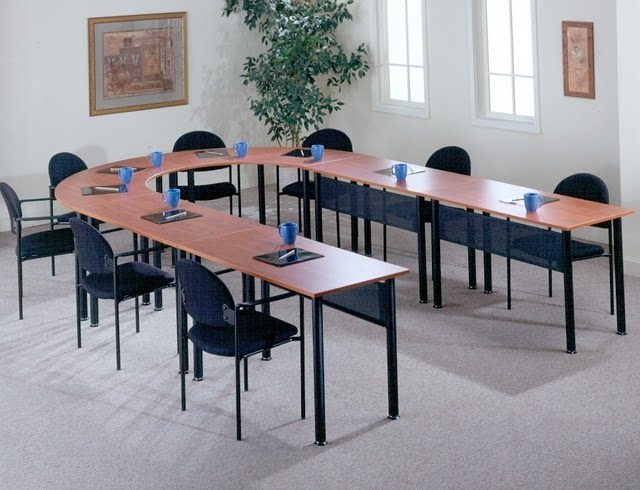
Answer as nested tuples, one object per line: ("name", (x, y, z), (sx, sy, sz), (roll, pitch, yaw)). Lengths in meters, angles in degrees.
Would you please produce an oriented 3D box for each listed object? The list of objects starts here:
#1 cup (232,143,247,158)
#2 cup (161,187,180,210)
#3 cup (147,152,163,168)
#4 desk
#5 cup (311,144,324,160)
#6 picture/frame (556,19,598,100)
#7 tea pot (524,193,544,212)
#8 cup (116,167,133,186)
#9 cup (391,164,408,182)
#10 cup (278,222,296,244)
("cup", (-0.767, -0.924, 5.707), (0.169, 0.155, 0.131), (6, 9, 39))
("cup", (-1.030, -0.328, 4.121), (0.105, 0.141, 0.158), (-4, 11, -23))
("cup", (-1.469, -0.774, 5.297), (0.158, 0.140, 0.123), (-1, 6, -23))
("desk", (-0.083, 0.000, 4.386), (2.848, 1.311, 3.646), (-13, 16, -42))
("cup", (-0.048, -0.850, 5.403), (0.134, 0.140, 0.130), (-1, 9, 0))
("picture/frame", (2.341, -1.680, 5.349), (0.070, 0.696, 0.357), (-8, 15, -25))
("tea pot", (1.398, -0.278, 3.941), (0.138, 0.123, 0.092), (-8, 8, -42))
("cup", (-1.574, -0.554, 4.760), (0.109, 0.145, 0.162), (-2, 11, -20))
("cup", (0.635, -0.588, 4.786), (0.113, 0.149, 0.161), (-3, 5, -33))
("cup", (-0.191, -0.074, 3.465), (0.087, 0.103, 0.128), (-4, 7, -22))
